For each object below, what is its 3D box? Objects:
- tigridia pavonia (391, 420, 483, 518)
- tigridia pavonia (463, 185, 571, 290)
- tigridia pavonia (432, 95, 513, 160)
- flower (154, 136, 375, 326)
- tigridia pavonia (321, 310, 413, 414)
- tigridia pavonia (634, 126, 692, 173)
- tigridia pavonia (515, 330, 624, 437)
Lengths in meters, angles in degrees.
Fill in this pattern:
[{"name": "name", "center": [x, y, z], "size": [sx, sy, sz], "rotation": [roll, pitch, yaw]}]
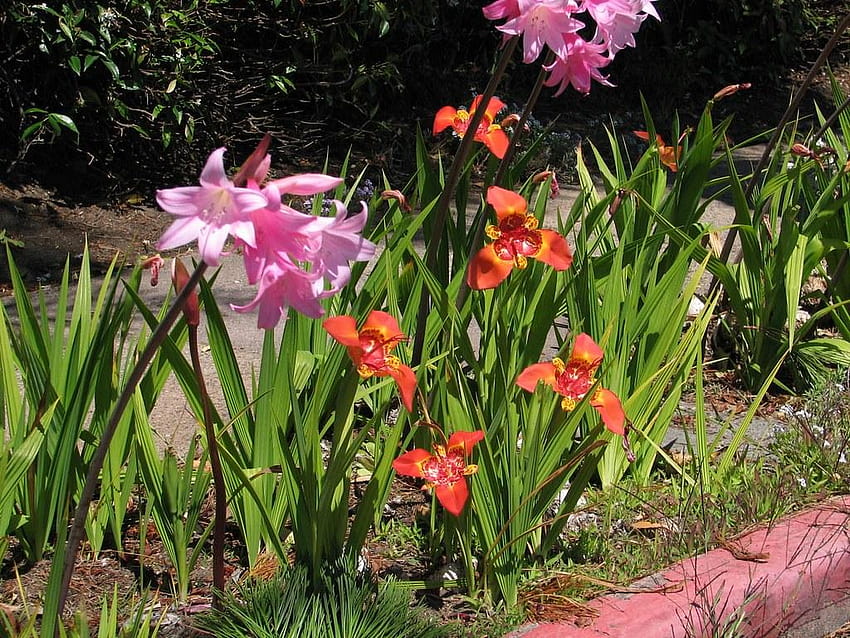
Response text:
[{"name": "tigridia pavonia", "center": [0.086, 0.413, 2.360], "size": [0.283, 0.093, 0.253], "rotation": [-29, 37, -26]}, {"name": "tigridia pavonia", "center": [0.273, -0.228, 2.602], "size": [0.267, 0.344, 0.092], "rotation": [-9, 5, -14]}, {"name": "tigridia pavonia", "center": [0.184, -0.668, 3.072], "size": [0.262, 0.089, 0.274], "rotation": [-34, 60, -21]}, {"name": "flower", "center": [-0.339, -0.194, 1.866], "size": [0.368, 0.287, 0.423], "rotation": [-25, 51, -37]}, {"name": "tigridia pavonia", "center": [-0.138, 0.104, 2.336], "size": [0.244, 0.146, 0.358], "rotation": [29, 17, -22]}, {"name": "tigridia pavonia", "center": [1.096, -0.779, 3.933], "size": [0.226, 0.212, 0.348], "rotation": [9, 21, 11]}, {"name": "tigridia pavonia", "center": [0.448, 0.171, 2.547], "size": [0.315, 0.244, 0.274], "rotation": [10, 21, 15]}]
